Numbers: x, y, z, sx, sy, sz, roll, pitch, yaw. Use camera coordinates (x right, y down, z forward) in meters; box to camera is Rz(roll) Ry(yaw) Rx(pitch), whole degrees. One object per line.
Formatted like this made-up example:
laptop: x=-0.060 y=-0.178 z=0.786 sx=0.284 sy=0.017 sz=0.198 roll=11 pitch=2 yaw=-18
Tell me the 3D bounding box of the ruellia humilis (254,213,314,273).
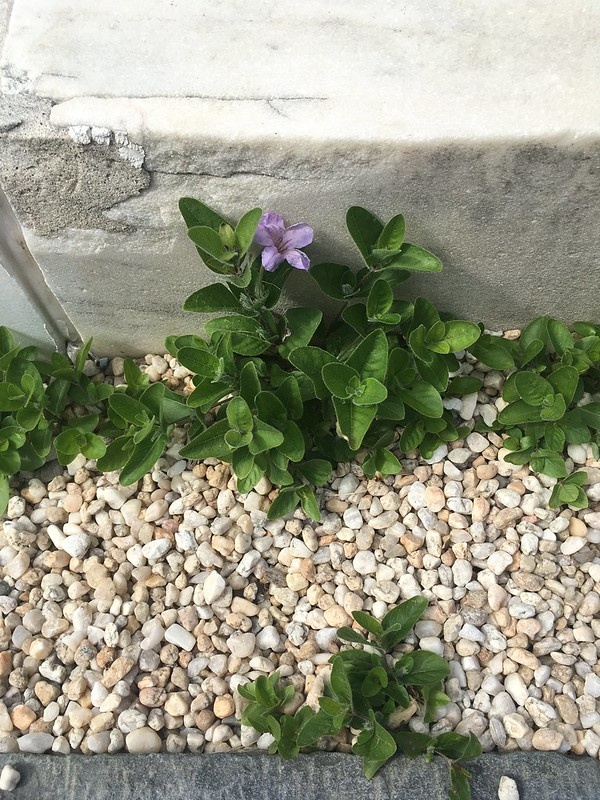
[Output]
ruellia humilis: x=-0.053 y=-0.320 z=1.507 sx=0.120 sy=0.118 sz=0.048 roll=40 pitch=51 yaw=2
